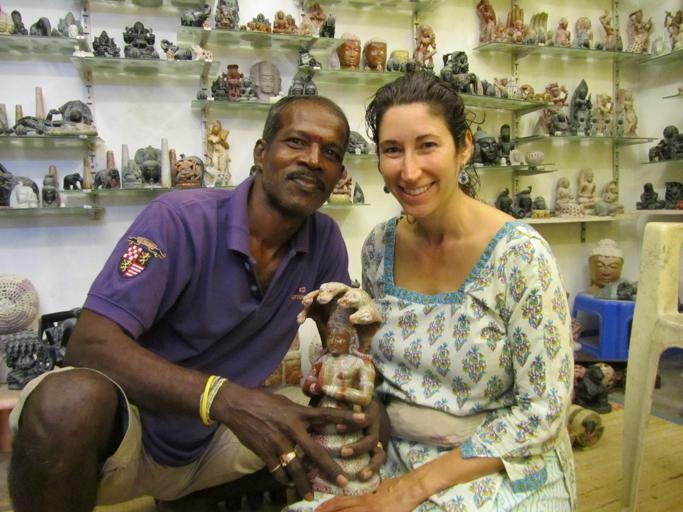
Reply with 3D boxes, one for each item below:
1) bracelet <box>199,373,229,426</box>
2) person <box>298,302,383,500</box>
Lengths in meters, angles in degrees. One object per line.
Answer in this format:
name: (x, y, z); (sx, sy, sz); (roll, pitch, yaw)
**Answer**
bracelet: (-0.576, 0.678, 2.861); (0.091, 0.192, 0.162); (5, -24, -1)
person: (0.011, 0.684, 2.915); (0.335, 0.888, 0.302); (-1, 8, 2)
